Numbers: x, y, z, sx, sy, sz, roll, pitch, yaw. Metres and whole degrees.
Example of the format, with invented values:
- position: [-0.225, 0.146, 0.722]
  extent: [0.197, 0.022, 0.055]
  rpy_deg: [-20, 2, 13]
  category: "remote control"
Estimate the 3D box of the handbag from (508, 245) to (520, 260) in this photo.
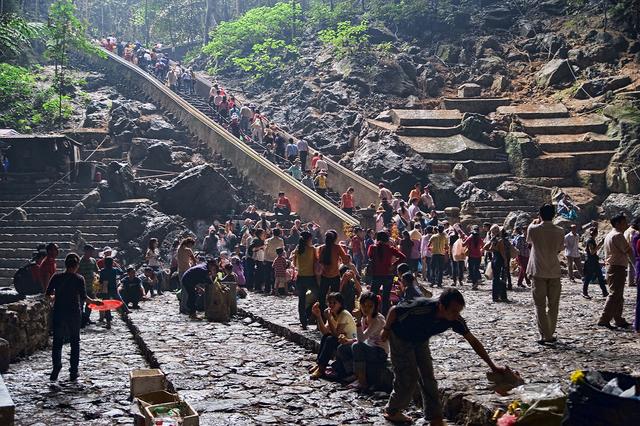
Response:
- position: [6.992, 1.402, 26.053]
  extent: [0.483, 0.569, 0.287]
  rpy_deg: [9, 24, 40]
  category: "handbag"

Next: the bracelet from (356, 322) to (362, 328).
- position: [1.151, 3.346, 21.486]
  extent: [0.108, 0.123, 0.178]
  rpy_deg: [7, -6, -23]
  category: "bracelet"

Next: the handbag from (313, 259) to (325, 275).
- position: [-0.026, 1.786, 23.526]
  extent: [0.291, 0.506, 0.072]
  rpy_deg: [1, 1, 22]
  category: "handbag"

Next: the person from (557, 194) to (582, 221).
- position: [11.557, -0.266, 33.581]
  extent: [0.881, 1.175, 0.953]
  rpy_deg: [-2, -2, -10]
  category: "person"

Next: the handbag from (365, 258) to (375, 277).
- position: [1.607, 1.800, 23.657]
  extent: [0.220, 0.574, 0.317]
  rpy_deg: [0, 0, -8]
  category: "handbag"

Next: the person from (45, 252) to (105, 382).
- position: [-7.773, 3.188, 22.165]
  extent: [1.151, 3.861, 0.628]
  rpy_deg: [0, 1, -20]
  category: "person"

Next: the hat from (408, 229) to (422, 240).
- position: [3.735, 0.883, 28.416]
  extent: [0.460, 0.429, 0.132]
  rpy_deg: [9, -41, 4]
  category: "hat"
